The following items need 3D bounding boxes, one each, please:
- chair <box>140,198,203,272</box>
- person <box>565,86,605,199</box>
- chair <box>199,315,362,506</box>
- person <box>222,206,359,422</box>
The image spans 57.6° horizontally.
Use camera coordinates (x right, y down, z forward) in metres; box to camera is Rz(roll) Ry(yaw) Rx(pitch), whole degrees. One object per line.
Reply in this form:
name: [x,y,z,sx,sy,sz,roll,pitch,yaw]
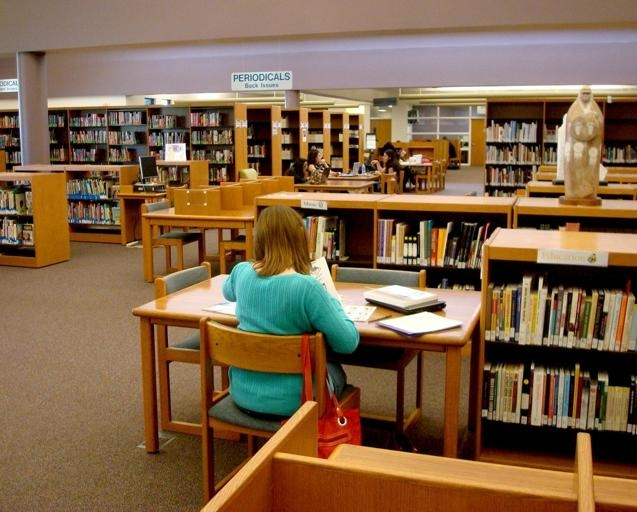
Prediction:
chair: [-1.918,-0.254,7.566,0.601,1.247,0.856,2,9,12]
person: [1.889,-0.797,4.138,0.231,0.767,0.217,3,11,24]
chair: [-0.260,0.750,2.965,0.660,1.033,0.738,11,16,27]
person: [-0.143,0.264,2.650,0.662,0.955,0.579,-1,10,3]
